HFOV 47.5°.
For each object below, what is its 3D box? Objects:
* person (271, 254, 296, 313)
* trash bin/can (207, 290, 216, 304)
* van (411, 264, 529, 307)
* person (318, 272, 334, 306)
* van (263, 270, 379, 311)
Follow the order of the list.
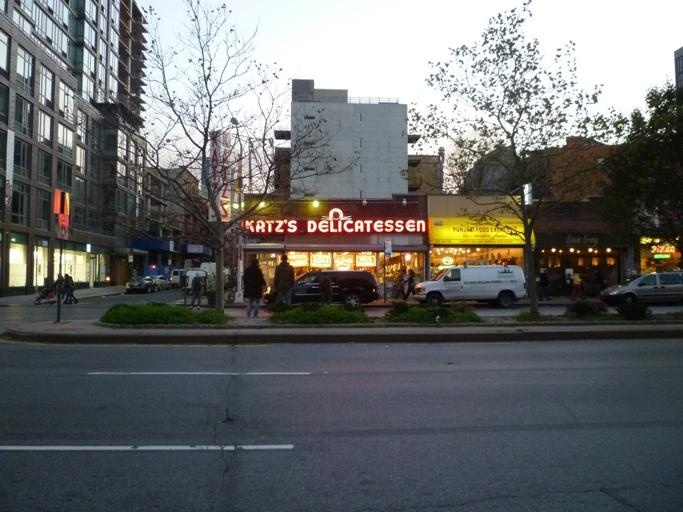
[{"bbox_3d":[-1.911,0.837,26.340,0.588,2.076,0.584,-1,26,-8],"label":"person"},{"bbox_3d":[-5.674,1.770,33.836,0.291,0.577,0.659,-4,4,-17],"label":"trash bin/can"},{"bbox_3d":[5.599,1.225,34.037,4.033,1.947,2.117,1,-3,-5],"label":"van"},{"bbox_3d":[-0.617,1.257,30.998,0.496,1.206,1.726,-2,4,-1],"label":"person"},{"bbox_3d":[-0.526,1.251,32.294,3.959,1.567,1.926,1,-4,-2],"label":"van"}]
